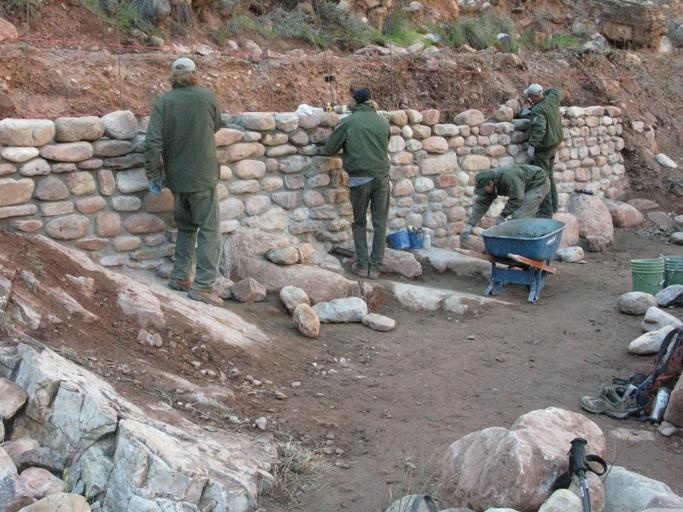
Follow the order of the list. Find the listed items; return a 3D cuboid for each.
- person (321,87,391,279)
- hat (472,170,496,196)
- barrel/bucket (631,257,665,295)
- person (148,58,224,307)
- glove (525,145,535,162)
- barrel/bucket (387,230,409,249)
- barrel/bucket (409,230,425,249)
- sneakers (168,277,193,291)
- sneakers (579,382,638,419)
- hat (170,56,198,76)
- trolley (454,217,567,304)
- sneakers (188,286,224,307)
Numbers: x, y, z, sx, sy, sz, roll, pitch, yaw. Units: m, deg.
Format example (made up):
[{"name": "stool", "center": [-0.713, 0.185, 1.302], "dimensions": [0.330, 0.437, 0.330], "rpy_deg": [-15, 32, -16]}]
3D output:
[{"name": "person", "center": [0.230, -0.933, 9.461], "dimensions": [0.794, 2.350, 0.685], "rpy_deg": [3, 16, 2]}, {"name": "hat", "center": [1.976, -0.994, 9.991], "dimensions": [0.267, 0.361, 0.216], "rpy_deg": [2, 16, -4]}, {"name": "barrel/bucket", "center": [4.061, 0.242, 9.671], "dimensions": [0.479, 0.460, 0.469], "rpy_deg": [-3, 4, 0]}, {"name": "person", "center": [-1.689, -0.629, 7.834], "dimensions": [0.778, 2.317, 0.641], "rpy_deg": [-1, 16, -13]}, {"name": "glove", "center": [2.964, -1.603, 11.467], "dimensions": [0.065, 0.208, 0.147], "rpy_deg": [-2, 29, 8]}, {"name": "barrel/bucket", "center": [0.824, -0.206, 10.387], "dimensions": [0.307, 0.277, 0.244], "rpy_deg": [-8, -7, 11]}, {"name": "barrel/bucket", "center": [1.069, -0.231, 10.402], "dimensions": [0.251, 0.313, 0.232], "rpy_deg": [-1, 12, 0]}, {"name": "sneakers", "center": [-1.765, 0.312, 8.046], "dimensions": [0.276, 0.142, 0.116], "rpy_deg": [-3, 11, -22]}, {"name": "sneakers", "center": [2.550, 1.374, 6.899], "dimensions": [0.605, 0.280, 0.224], "rpy_deg": [1, 10, 12]}, {"name": "hat", "center": [-1.670, -2.034, 7.829], "dimensions": [0.182, 0.128, 0.245], "rpy_deg": [3, 20, -1]}, {"name": "trolley", "center": [2.449, 0.048, 9.852], "dimensions": [0.878, 0.943, 1.461], "rpy_deg": [7, 11, 31]}, {"name": "sneakers", "center": [-1.466, 0.454, 8.007], "dimensions": [0.430, 0.210, 0.154], "rpy_deg": [9, 7, -23]}]
